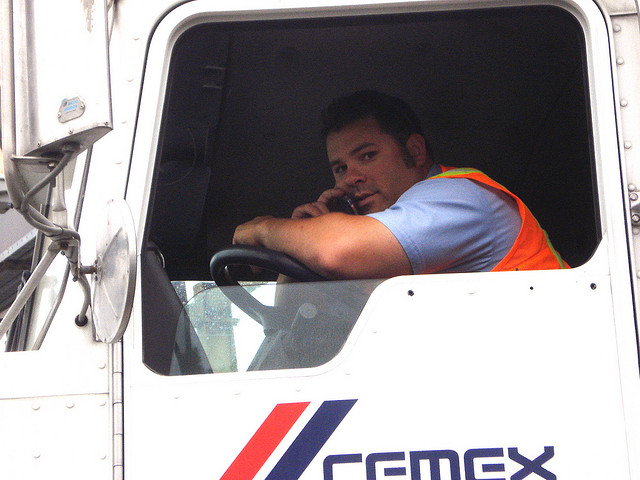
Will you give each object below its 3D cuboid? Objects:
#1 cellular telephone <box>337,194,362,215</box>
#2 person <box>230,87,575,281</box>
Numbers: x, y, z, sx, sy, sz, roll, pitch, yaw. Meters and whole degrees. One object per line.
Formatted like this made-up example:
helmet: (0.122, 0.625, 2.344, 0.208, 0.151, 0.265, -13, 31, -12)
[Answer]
cellular telephone: (0.115, -0.136, 3.880, 0.044, 0.060, 0.106, -15, 27, -33)
person: (0.353, -0.140, 3.888, 1.243, 0.873, 0.996, -9, 4, -35)
